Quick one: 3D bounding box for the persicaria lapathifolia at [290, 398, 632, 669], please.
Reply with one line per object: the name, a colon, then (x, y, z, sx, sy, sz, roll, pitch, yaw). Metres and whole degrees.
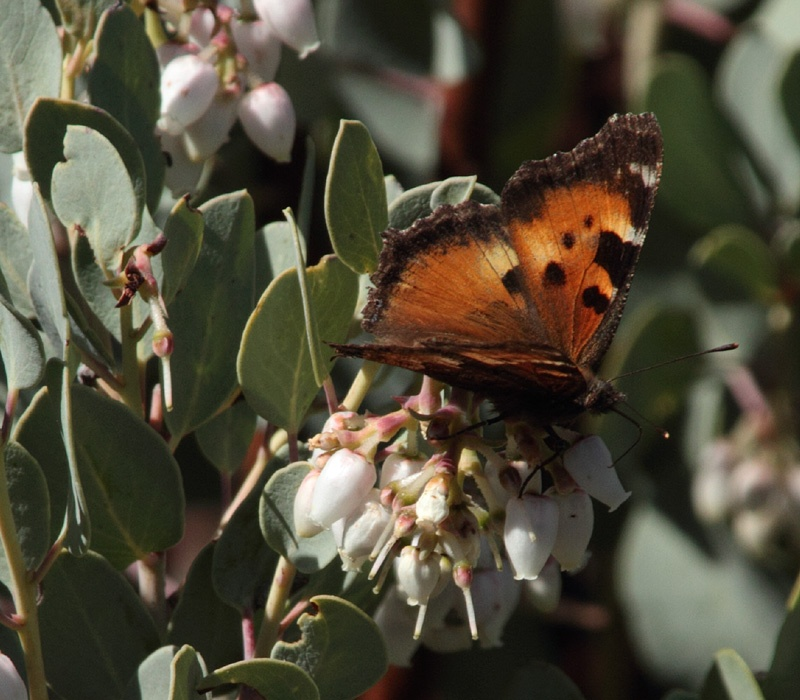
persicaria lapathifolia: (0.032, 0.141, 1.246, 0.269, 0.304, 0.182, -4, 55, 58)

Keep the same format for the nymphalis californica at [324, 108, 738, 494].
nymphalis californica: (0.118, -0.093, 1.388, 0.313, 0.416, 0.439, -1, 102, -11)
